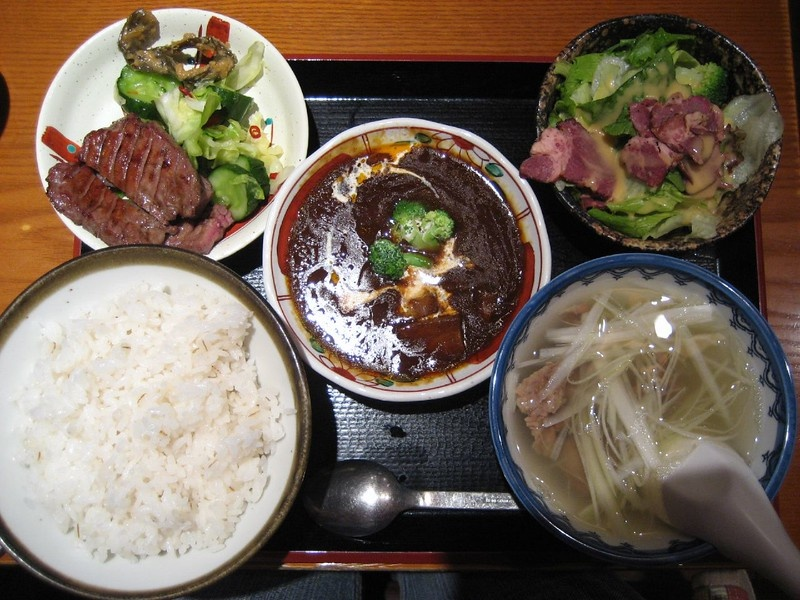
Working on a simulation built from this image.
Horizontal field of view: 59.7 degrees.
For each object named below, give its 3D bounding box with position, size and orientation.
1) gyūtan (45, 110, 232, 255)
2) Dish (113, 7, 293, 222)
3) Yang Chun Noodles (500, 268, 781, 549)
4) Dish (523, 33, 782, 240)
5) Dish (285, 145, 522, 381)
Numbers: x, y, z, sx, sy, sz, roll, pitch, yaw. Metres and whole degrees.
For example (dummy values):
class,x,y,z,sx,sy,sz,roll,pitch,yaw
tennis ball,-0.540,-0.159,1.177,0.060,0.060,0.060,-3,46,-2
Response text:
class,x,y,z,sx,sy,sz,roll,pitch,yaw
gyūtan,-1.402,-0.566,3.864,0.893,0.240,0.673,40,87,-3
Dish,-1.062,-1.062,3.953,1.117,1.124,0.764,-26,42,-34
Yang Chun Noodles,1.130,0.746,3.731,1.278,1.433,1.080,5,66,4
Dish,1.277,-0.819,3.366,1.062,0.352,1.223,5,91,7
Dish,0.013,-0.142,3.581,1.058,0.287,1.179,9,89,-1
